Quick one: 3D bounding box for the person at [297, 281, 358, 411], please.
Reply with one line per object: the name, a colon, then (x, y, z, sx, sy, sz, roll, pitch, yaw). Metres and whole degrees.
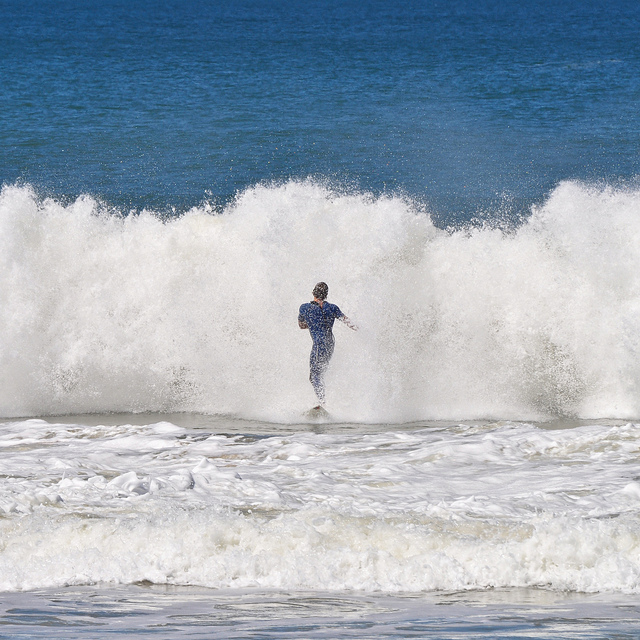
person: (0.091, 0.407, 27.062, 0.825, 2.120, 1.393, -6, 30, -9)

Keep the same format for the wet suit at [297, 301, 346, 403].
wet suit: (-0.032, 0.489, 27.013, 0.592, 1.593, 0.657, 21, 36, 34)
